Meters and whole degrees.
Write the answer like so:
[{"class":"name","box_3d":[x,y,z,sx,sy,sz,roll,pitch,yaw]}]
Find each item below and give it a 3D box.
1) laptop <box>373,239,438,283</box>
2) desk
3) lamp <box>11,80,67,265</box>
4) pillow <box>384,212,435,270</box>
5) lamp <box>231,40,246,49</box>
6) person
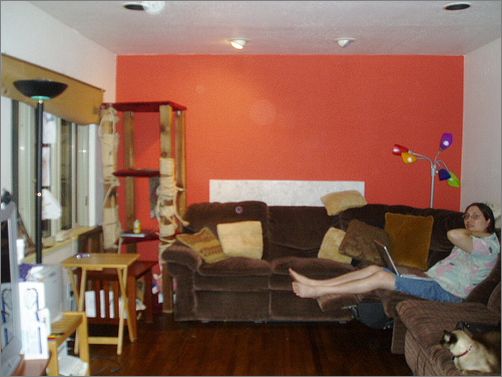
[{"class":"laptop","box_3d":[1.336,0.639,4.258,0.246,0.242,0.340,-14,4,-6]},{"class":"desk","box_3d":[-1.277,1.001,4.521,0.670,0.640,0.681,0,4,3]},{"class":"lamp","box_3d":[-1.652,-0.157,3.762,0.463,1.444,1.065,-3,4,-29]},{"class":"pillow","box_3d":[1.558,0.535,4.619,0.151,0.479,0.498,1,0,-39]},{"class":"lamp","box_3d":[-0.136,-1.493,4.801,0.144,0.063,0.167,-3,4,-21]},{"class":"person","box_3d":[1.229,0.547,4.544,1.960,0.997,0.754,-6,5,10]}]
